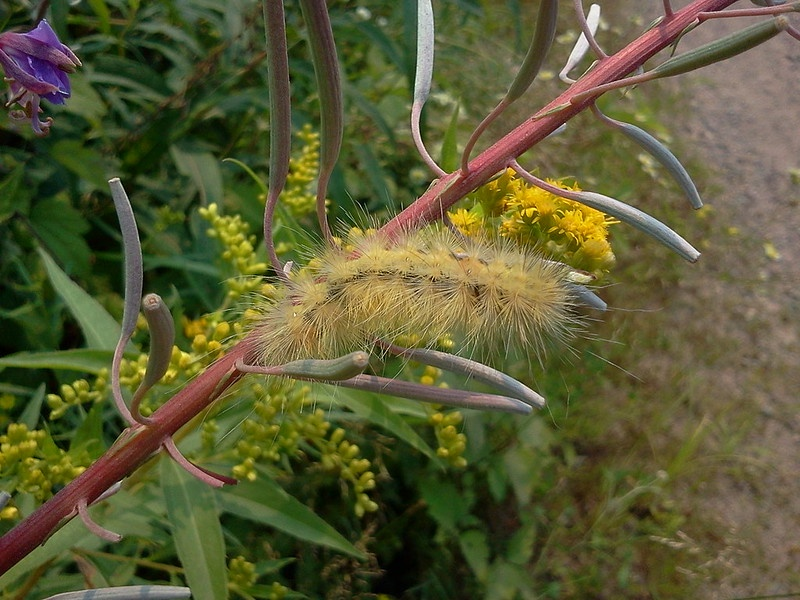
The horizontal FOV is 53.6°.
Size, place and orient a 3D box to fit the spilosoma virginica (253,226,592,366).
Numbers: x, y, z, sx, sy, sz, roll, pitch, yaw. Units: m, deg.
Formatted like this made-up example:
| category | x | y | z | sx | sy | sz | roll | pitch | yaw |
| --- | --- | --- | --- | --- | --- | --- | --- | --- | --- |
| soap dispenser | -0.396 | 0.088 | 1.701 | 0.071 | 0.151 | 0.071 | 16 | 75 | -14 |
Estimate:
| category | x | y | z | sx | sy | sz | roll | pitch | yaw |
| --- | --- | --- | --- | --- | --- | --- | --- | --- | --- |
| spilosoma virginica | 0.041 | -0.003 | 1.351 | 0.513 | 0.166 | 0.226 | -6 | 15 | 1 |
